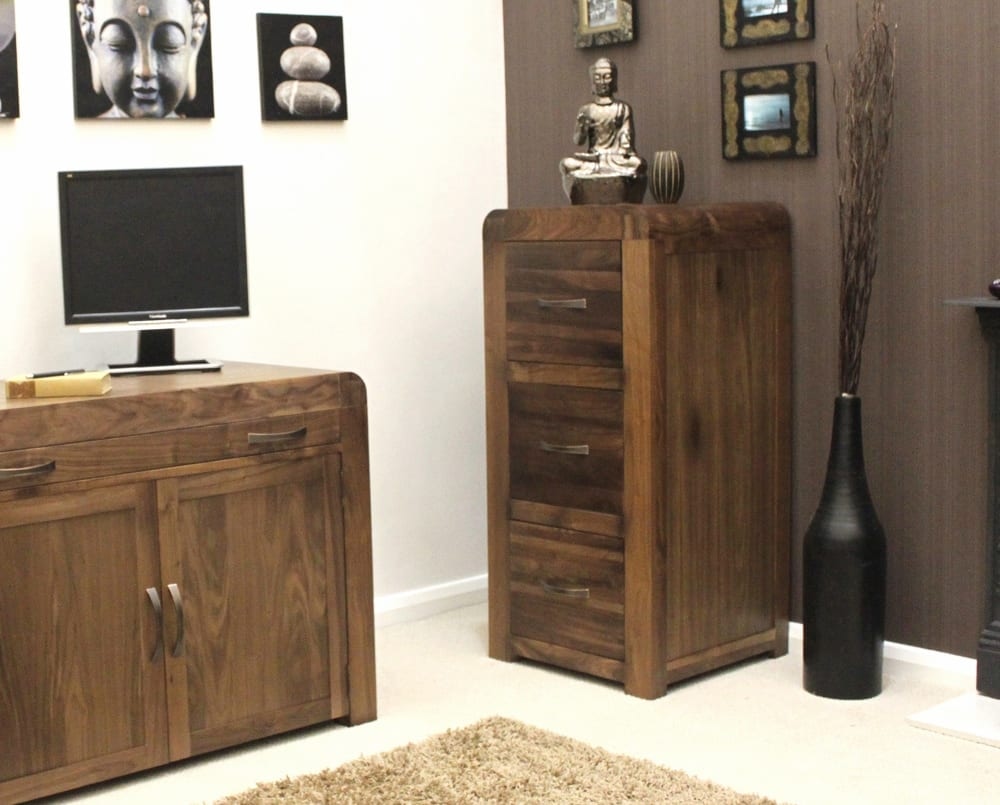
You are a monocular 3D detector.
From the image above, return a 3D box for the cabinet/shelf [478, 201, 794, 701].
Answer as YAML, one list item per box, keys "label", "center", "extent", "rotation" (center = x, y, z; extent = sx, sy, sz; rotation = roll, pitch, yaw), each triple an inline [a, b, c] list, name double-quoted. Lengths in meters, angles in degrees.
- label: "cabinet/shelf"
  center: [0.402, 0.123, 3.039]
  extent: [0.955, 1.415, 0.629]
  rotation: [1, 12, 13]

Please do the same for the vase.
- label: "vase"
  center: [0.982, 0.408, 2.841]
  extent: [0.220, 0.824, 0.222]
  rotation: [1, 12, 10]

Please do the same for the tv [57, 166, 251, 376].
- label: "tv"
  center: [-0.982, -0.380, 2.797]
  extent: [0.529, 0.689, 0.209]
  rotation: [-4, 5, -22]

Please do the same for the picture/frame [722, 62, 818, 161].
- label: "picture/frame"
  center: [0.868, -0.923, 3.175]
  extent: [0.298, 0.312, 0.035]
  rotation: [4, 6, 43]
